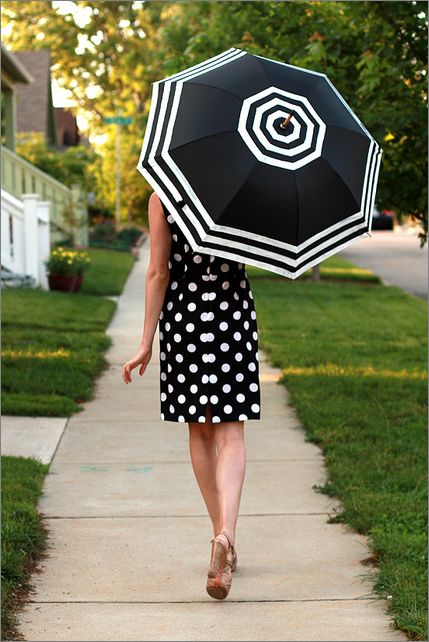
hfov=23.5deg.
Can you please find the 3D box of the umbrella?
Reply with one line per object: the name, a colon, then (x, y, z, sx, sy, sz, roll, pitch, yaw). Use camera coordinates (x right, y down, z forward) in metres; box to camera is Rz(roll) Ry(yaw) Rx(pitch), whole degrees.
umbrella: (0.230, -0.705, 4.209, 1.093, 1.068, 0.463, 5, -24, -13)
